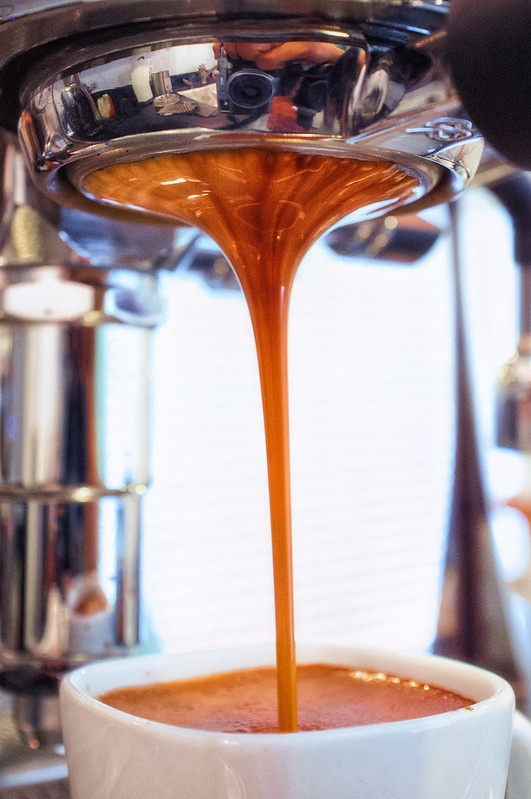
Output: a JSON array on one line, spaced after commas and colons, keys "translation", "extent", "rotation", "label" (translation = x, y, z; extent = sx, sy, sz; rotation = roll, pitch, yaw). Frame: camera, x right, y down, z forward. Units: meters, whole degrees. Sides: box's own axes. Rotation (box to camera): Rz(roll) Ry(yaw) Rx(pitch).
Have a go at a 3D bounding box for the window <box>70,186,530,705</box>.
[{"translation": [-0.061, 0.027, 0.809], "extent": [0.323, 0.515, 0.283], "rotation": [-1, 2, -15], "label": "window"}]
